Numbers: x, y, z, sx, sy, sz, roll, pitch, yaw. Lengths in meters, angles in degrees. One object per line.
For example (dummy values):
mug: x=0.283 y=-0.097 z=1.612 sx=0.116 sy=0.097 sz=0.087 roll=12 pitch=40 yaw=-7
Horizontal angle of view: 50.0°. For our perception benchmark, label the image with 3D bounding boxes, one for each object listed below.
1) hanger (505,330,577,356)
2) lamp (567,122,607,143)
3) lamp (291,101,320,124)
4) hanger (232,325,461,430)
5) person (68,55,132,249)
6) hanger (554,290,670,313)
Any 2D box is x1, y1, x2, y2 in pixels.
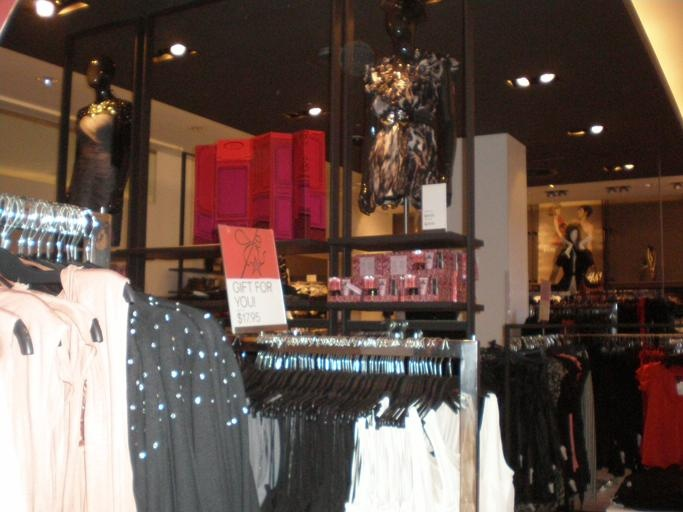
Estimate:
hanger: x=1.390 y=0.591 z=4.971 sx=0.231 sy=0.129 sz=0.849 roll=-5 pitch=-9 yaw=42
lamp: x=2.351 y=-1.181 z=7.050 sx=0.117 sy=0.142 sz=0.446 roll=16 pitch=-3 yaw=-26
lamp: x=-0.332 y=-1.311 z=6.659 sx=0.095 sy=0.112 sz=0.350 roll=3 pitch=13 yaw=25
hanger: x=0.005 y=0.499 z=3.030 sx=0.973 sy=0.339 sz=0.404 roll=0 pitch=-6 yaw=13
person: x=-1.616 y=-0.825 z=4.953 sx=0.387 sy=1.077 sz=0.307 roll=3 pitch=-6 yaw=-24
hanger: x=2.416 y=0.392 z=6.487 sx=0.496 sy=0.148 sz=0.512 roll=-5 pitch=-7 yaw=45
